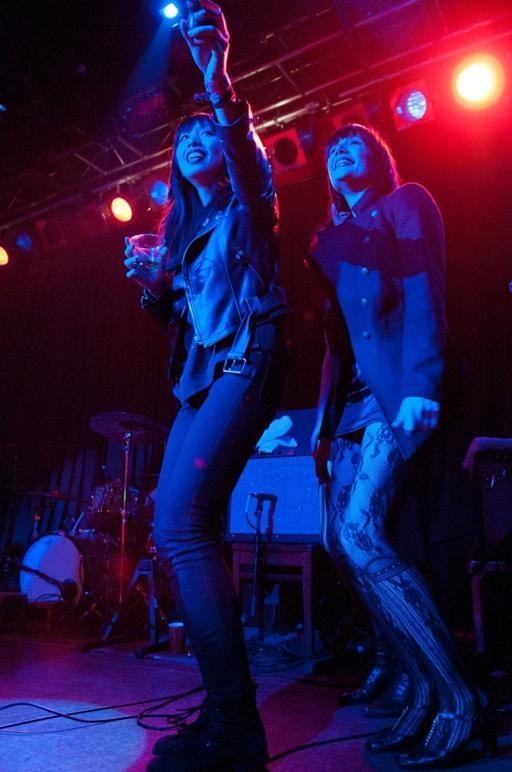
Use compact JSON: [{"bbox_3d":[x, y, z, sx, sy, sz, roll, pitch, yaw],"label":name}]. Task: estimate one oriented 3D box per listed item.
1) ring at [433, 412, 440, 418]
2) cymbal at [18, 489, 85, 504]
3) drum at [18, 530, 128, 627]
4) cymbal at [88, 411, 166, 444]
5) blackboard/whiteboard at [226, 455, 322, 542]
[{"bbox_3d":[0.427,0.065,1.563,0.010,0.018,0.044,-7,-5,21],"label":"ring"},{"bbox_3d":[-1.932,1.046,6.276,0.403,0.083,0.293,14,-26,-22],"label":"cymbal"},{"bbox_3d":[-1.337,1.348,4.654,0.751,0.630,0.418,-6,-5,3],"label":"drum"},{"bbox_3d":[-0.920,0.279,4.660,0.495,0.243,0.374,-2,-1,3],"label":"cymbal"},{"bbox_3d":[0.122,0.550,3.580,0.494,0.444,0.412,0,-1,18],"label":"blackboard/whiteboard"}]
